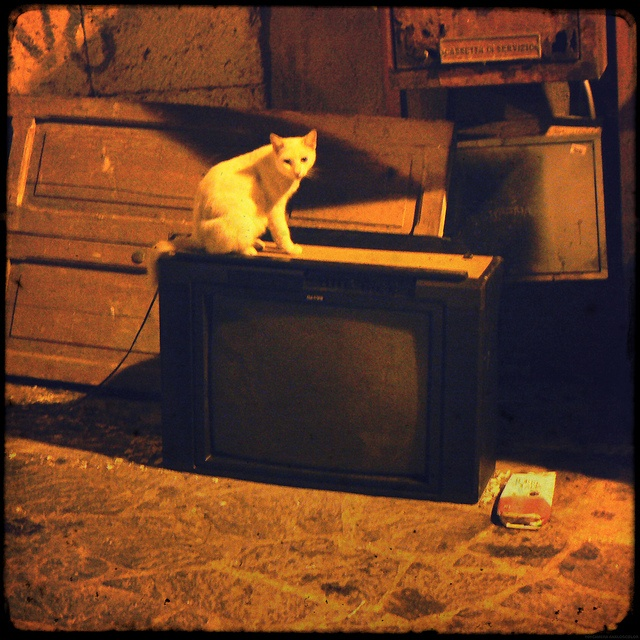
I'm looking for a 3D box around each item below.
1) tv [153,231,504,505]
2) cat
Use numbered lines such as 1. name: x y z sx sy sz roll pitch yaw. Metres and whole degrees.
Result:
1. tv: -0.014 0.239 3.737 1.367 1.001 0.090 6 12 12
2. cat: -0.334 -0.515 3.782 0.689 0.812 0.499 4 8 26
